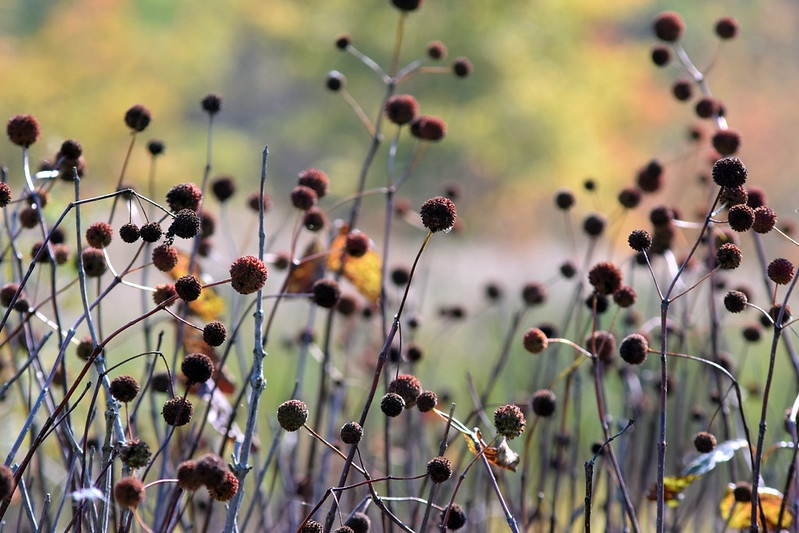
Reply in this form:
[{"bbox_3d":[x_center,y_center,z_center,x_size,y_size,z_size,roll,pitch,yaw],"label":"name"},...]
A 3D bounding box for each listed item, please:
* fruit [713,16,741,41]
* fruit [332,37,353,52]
[{"bbox_3d":[1.121,-0.817,4.653,0.061,0.089,0.043,-1,-6,0],"label":"fruit"},{"bbox_3d":[-0.196,-0.753,4.531,0.042,0.060,0.028,3,-9,-2],"label":"fruit"}]
